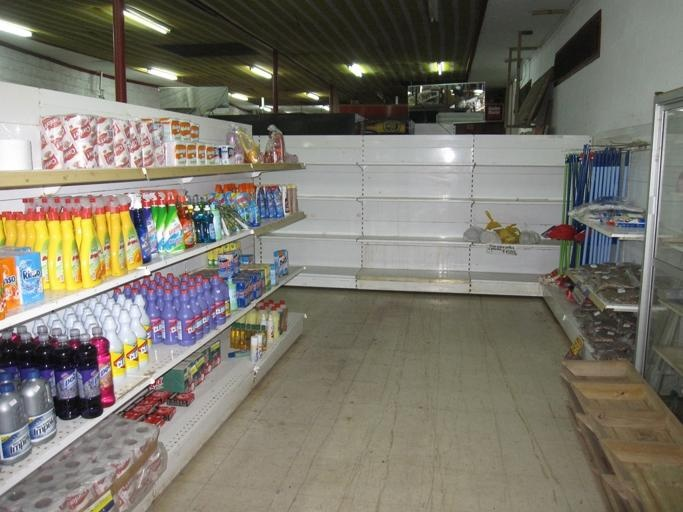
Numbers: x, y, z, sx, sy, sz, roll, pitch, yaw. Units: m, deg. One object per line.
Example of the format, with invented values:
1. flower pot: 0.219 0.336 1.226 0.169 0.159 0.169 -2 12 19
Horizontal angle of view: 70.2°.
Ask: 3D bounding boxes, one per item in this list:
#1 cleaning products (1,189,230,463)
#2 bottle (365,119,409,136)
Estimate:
1. cleaning products: -1.303 0.404 2.762 0.513 0.644 1.862 -5 13 8
2. bottle: 0.639 -1.814 6.797 0.507 0.163 0.254 0 16 2
